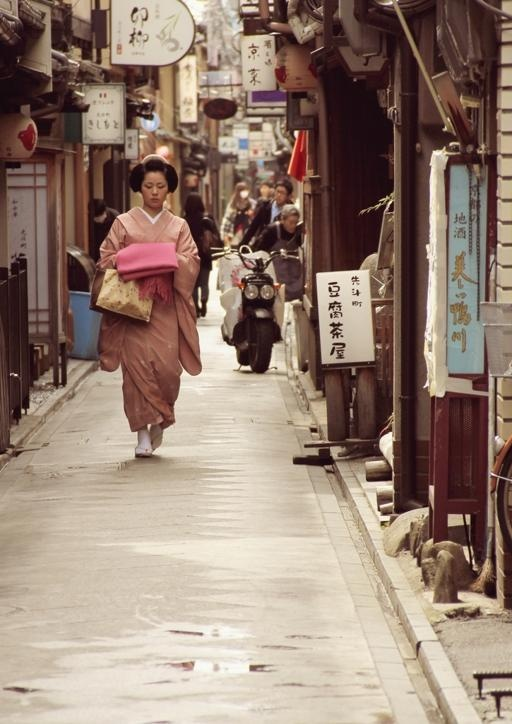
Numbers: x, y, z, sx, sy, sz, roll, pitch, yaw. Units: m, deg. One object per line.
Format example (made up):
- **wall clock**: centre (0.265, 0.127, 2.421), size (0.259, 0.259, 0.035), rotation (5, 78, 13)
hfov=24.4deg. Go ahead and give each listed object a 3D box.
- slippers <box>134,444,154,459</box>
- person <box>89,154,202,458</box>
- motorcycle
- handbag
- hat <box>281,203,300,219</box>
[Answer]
- **slippers**: centre (-0.806, 0.639, 8.493), size (0.131, 0.087, 0.211), rotation (-1, 4, -7)
- **person**: centre (-0.791, -0.415, 8.578), size (0.759, 2.172, 0.481), rotation (-1, 4, -3)
- **motorcycle**: centre (-0.054, -0.608, 13.737), size (0.804, 1.442, 1.460), rotation (-1, 4, -2)
- **handbag**: centre (-0.944, -0.484, 8.412), size (0.317, 0.303, 0.136), rotation (17, -24, -3)
- **hat**: centre (0.463, -2.034, 15.797), size (0.196, 0.274, 0.251), rotation (4, -28, -4)
